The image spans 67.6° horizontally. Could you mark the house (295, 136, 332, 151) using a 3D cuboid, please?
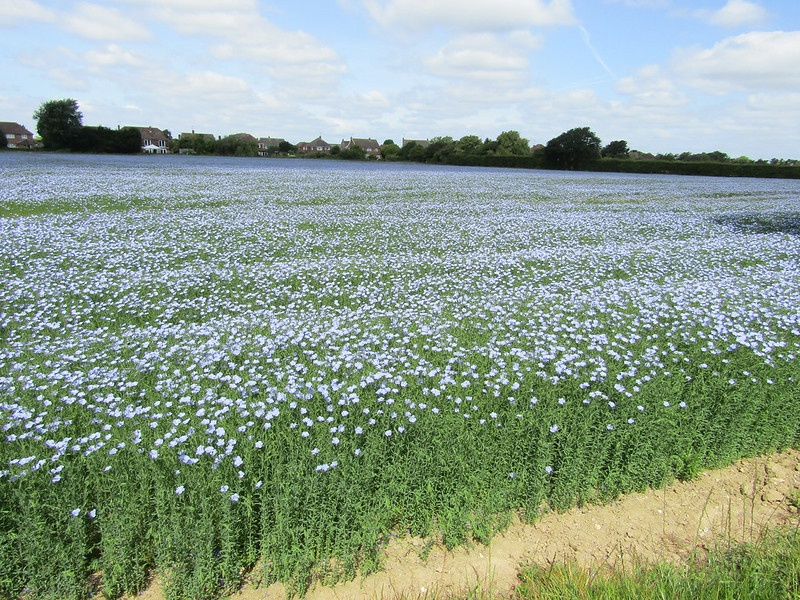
[{"bbox_3d":[-18.462,-34.367,132.219,5.770,2.784,8.278,-11,22,-32],"label":"house"}]
